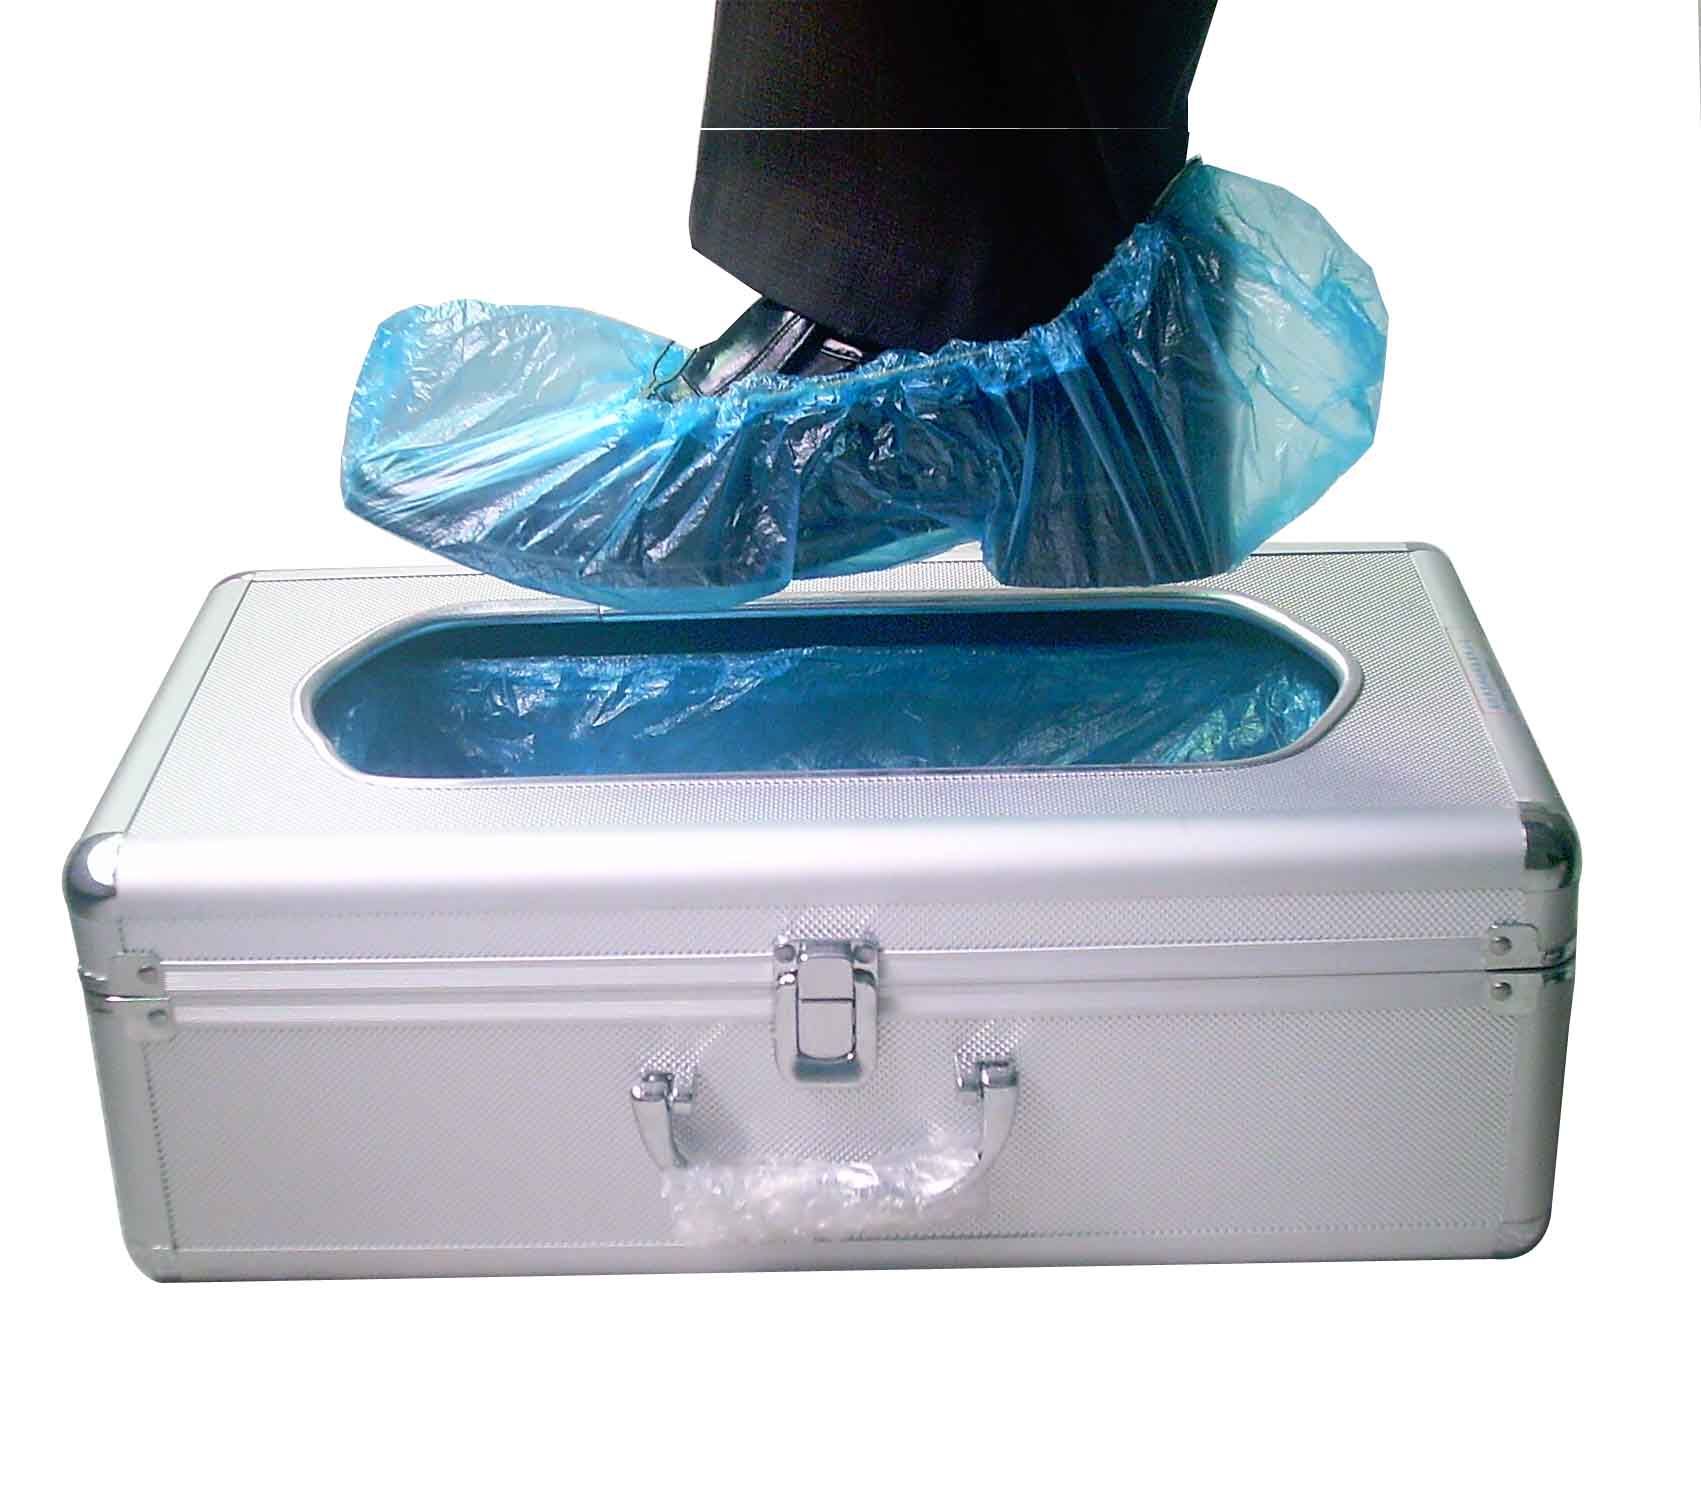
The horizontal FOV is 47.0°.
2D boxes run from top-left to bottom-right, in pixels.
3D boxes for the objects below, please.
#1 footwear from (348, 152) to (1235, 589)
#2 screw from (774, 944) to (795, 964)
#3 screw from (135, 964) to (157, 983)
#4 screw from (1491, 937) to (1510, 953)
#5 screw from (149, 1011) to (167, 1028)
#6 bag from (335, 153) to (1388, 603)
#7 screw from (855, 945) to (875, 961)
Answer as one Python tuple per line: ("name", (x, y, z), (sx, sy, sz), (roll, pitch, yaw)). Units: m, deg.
("footwear", (-0.048, -0.259, 1.383), (0.566, 0.202, 0.268), (-1, 45, -2))
("screw", (-0.042, 0.130, 1.285), (0.014, 0.016, 0.006), (-3, 26, -5))
("screw", (-0.465, 0.145, 1.299), (0.014, 0.012, 0.003), (5, 5, 1))
("screw", (0.431, 0.125, 1.294), (0.010, 0.011, 0.003), (3, 5, 7))
("screw", (-0.461, 0.176, 1.308), (0.013, 0.011, 0.003), (4, 13, -1))
("bag", (0.054, -0.271, 1.490), (0.887, 0.352, 0.275), (-2, 67, 0))
("screw", (0.012, 0.129, 1.285), (0.017, 0.012, 0.008), (-2, 25, -3))
